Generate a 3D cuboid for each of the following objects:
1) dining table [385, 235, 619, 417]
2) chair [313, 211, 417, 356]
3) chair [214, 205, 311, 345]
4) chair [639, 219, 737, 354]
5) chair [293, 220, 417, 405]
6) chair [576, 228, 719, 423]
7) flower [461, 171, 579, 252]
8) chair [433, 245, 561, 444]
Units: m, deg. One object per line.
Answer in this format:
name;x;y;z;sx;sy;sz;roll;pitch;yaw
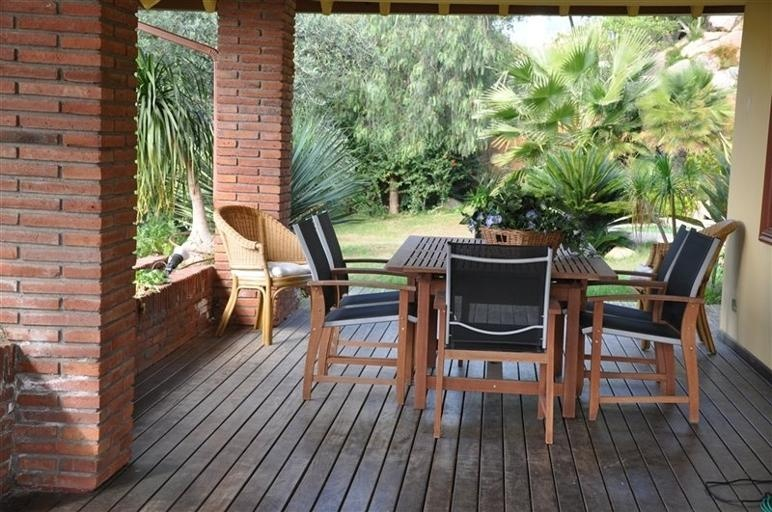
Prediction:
dining table;0.842;0.320;4.382;1.609;1.195;1.333;1;5;2
chair;-0.177;0.292;4.413;0.889;1.125;0.786;4;8;13
chair;-1.147;0.158;5.433;1.073;1.280;1.017;-1;3;-26
chair;2.919;0.300;5.251;0.947;1.177;0.866;18;-13;-43
chair;-0.366;0.287;4.711;1.265;1.746;1.160;1;10;6
chair;1.901;0.473;4.066;0.916;1.241;0.973;1;5;21
flower;1.093;-0.319;4.200;0.703;0.347;0.579;4;9;-12
chair;0.764;0.517;3.724;0.945;1.239;1.041;4;6;29
